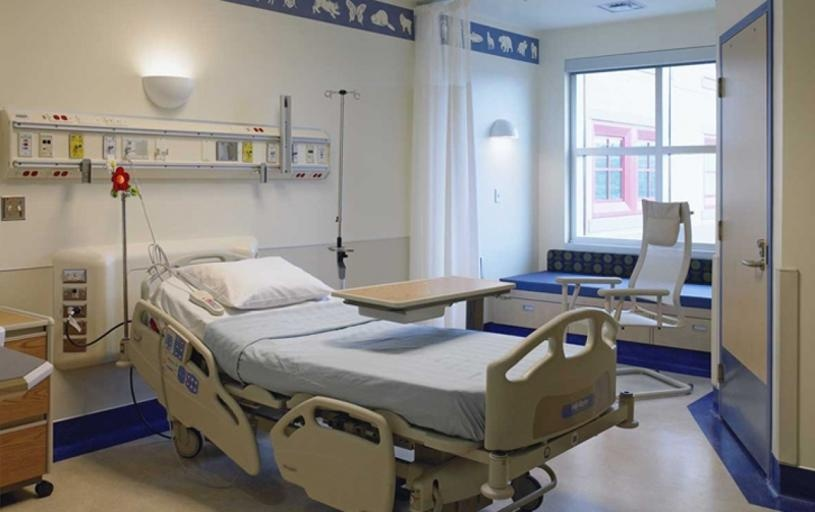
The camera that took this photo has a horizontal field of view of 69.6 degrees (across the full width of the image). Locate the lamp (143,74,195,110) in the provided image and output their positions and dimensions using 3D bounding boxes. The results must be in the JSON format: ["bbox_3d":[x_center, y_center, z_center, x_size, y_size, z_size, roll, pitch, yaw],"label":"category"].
[{"bbox_3d":[-1.749,-1.183,4.261,0.360,0.239,0.363,7,18,14],"label":"lamp"}]

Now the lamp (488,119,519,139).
[{"bbox_3d":[0.976,-1.310,6.146,0.224,0.135,0.222,-1,5,-6],"label":"lamp"}]

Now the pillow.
[{"bbox_3d":[-1.064,0.167,3.970,0.540,0.153,0.569,21,18,38],"label":"pillow"}]

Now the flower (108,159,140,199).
[{"bbox_3d":[-1.912,-0.514,3.949,0.181,0.257,0.299,-3,10,-25],"label":"flower"}]
